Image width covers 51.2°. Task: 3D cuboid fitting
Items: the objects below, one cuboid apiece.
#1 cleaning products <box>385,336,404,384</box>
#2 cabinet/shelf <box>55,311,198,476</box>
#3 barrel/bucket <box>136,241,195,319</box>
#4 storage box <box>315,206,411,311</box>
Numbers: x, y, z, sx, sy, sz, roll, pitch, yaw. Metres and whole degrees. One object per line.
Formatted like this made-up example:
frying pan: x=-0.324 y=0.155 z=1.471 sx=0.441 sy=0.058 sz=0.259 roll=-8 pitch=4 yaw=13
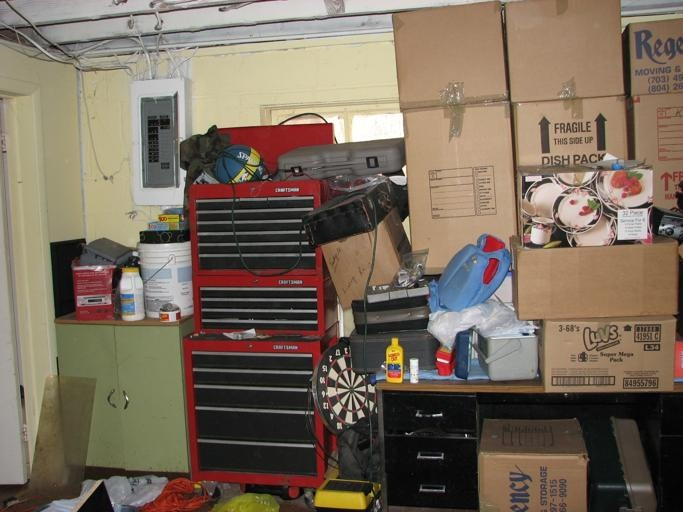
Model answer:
cleaning products: x=0.295 y=0.581 z=3.981 sx=0.097 sy=0.249 sz=0.102 roll=-2 pitch=2 yaw=7
cabinet/shelf: x=-1.351 y=0.880 z=4.588 sx=0.999 sy=1.187 sz=0.468 roll=0 pitch=2 yaw=8
barrel/bucket: x=-1.119 y=0.133 z=4.807 sx=0.413 sy=0.507 sz=0.480 roll=-2 pitch=5 yaw=-1
storage box: x=0.168 y=-0.017 z=4.570 sx=0.671 sy=0.539 sz=0.680 roll=-18 pitch=-6 yaw=12
